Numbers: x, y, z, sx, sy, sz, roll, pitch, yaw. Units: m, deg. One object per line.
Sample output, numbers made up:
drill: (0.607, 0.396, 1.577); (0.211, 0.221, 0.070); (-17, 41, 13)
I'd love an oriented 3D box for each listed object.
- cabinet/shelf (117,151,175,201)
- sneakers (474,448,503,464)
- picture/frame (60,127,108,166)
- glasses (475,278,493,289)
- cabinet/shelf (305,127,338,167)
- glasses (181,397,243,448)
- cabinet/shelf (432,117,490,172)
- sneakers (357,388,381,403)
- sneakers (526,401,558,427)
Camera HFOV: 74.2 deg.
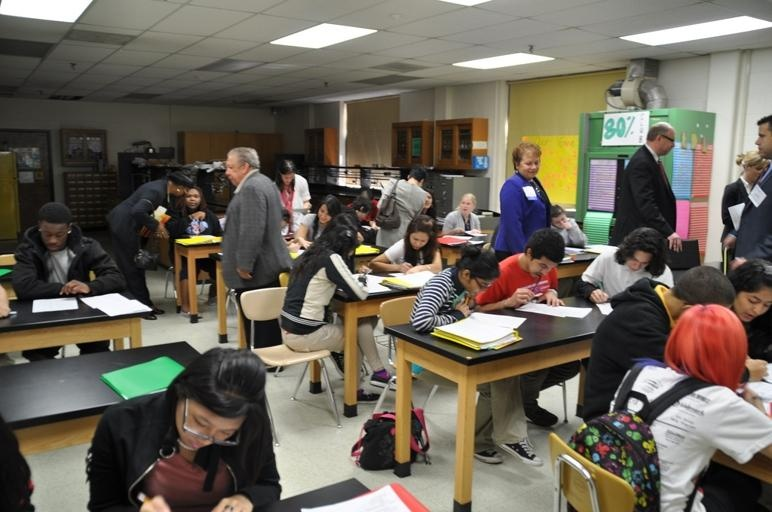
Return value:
cabinet/shelf: (-3.974, -1.311, 8.351); (0.652, 1.108, 1.237); (-8, 13, -39)
sneakers: (0.719, 1.401, 3.594); (0.192, 0.078, 0.081); (-1, 0, 41)
picture/frame: (-7.723, -2.778, 12.882); (1.079, 0.938, 0.141); (-3, 6, -35)
glasses: (0.651, 0.181, 3.420); (0.084, 0.026, 0.084); (-1, 12, -32)
cabinet/shelf: (-1.663, -2.821, 13.166); (0.407, 0.941, 1.061); (-9, 15, -39)
glasses: (-0.641, 0.620, 1.877); (0.055, 0.202, 0.203); (-32, -30, 23)
cabinet/shelf: (1.454, -2.125, 9.682); (0.374, 0.955, 1.156); (-1, 3, -35)
sneakers: (-0.152, 1.184, 4.337); (0.220, 0.077, 0.080); (0, 4, -2)
sneakers: (1.200, 1.247, 4.003); (0.293, 0.112, 0.133); (8, 20, 39)
